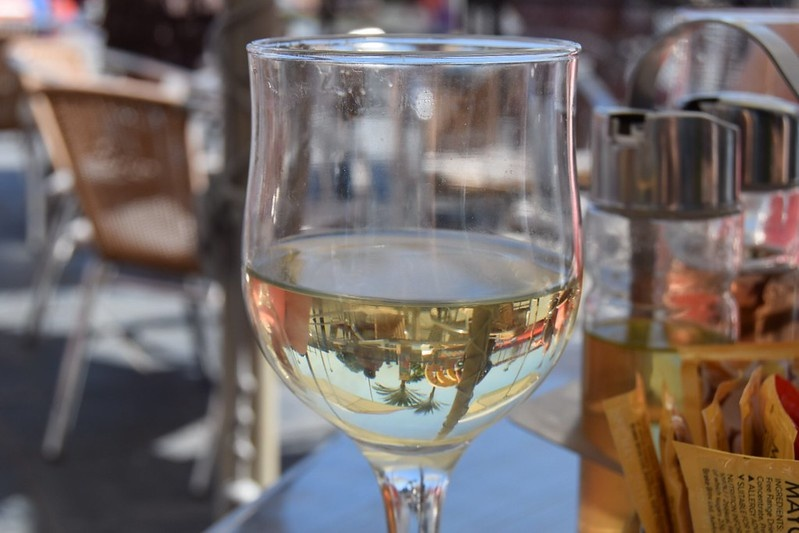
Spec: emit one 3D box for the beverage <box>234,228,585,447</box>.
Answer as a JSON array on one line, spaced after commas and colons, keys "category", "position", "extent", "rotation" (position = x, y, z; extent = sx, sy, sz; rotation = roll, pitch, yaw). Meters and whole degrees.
[{"category": "beverage", "position": [0.018, 0.038, 0.477], "extent": [0.190, 0.113, 0.192], "rotation": [1, 3, -1]}]
